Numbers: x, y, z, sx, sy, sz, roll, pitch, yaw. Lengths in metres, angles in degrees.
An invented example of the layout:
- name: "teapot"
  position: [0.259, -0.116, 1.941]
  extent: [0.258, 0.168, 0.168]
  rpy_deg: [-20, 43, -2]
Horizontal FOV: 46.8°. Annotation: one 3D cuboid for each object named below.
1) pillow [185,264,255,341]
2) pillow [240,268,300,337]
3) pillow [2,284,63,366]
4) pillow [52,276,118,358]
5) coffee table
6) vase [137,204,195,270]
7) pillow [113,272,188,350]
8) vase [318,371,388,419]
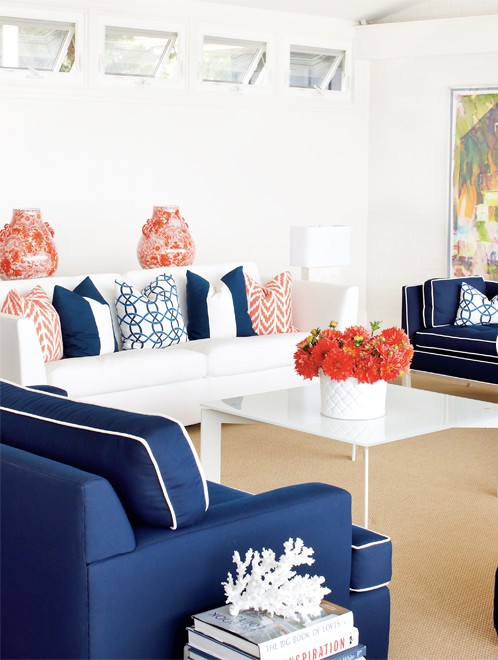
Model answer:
- name: "pillow"
  position: [-0.238, -0.190, 4.482]
  extent: [0.532, 0.495, 0.198]
  rpy_deg: [-8, -19, -16]
- name: "pillow"
  position: [0.163, -0.205, 4.692]
  extent: [0.547, 0.490, 0.202]
  rpy_deg: [-7, -6, -36]
- name: "pillow"
  position: [-1.419, -0.045, 3.726]
  extent: [0.376, 0.461, 0.325]
  rpy_deg: [0, 4, -4]
- name: "pillow"
  position: [-1.134, -0.057, 4.000]
  extent: [0.299, 0.518, 0.514]
  rpy_deg: [-5, -1, 27]
- name: "coffee table"
  position: [0.403, 0.387, 2.659]
  extent: [0.842, 0.387, 0.823]
  rpy_deg: [-6, 7, -43]
- name: "vase"
  position: [-0.730, -0.774, 4.998]
  extent: [0.470, 0.622, 0.492]
  rpy_deg: [12, 26, 22]
- name: "pillow"
  position: [-0.730, -0.110, 4.254]
  extent: [0.323, 0.535, 0.617]
  rpy_deg: [13, 16, 37]
- name: "vase"
  position: [0.443, 0.290, 2.511]
  extent: [0.226, 0.158, 0.228]
  rpy_deg: [1, 1, 16]
